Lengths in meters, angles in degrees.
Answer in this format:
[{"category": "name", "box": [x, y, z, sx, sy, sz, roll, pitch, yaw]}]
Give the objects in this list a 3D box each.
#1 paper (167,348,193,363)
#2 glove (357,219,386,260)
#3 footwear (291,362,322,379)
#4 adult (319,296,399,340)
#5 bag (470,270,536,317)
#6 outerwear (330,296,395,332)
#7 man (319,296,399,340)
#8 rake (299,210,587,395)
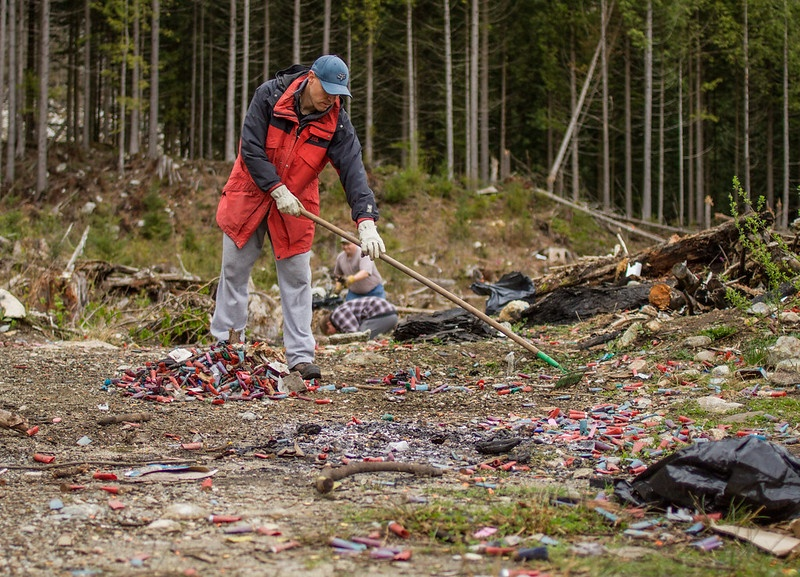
[{"category": "paper", "box": [-4.768, 1.460, 29.963, 0.522, 0.262, 0.461, -1, 5, -12]}, {"category": "glove", "box": [-0.636, -0.962, 29.948, 0.590, 0.320, 1.044, -11, -24, -19]}, {"category": "footwear", "box": [-2.028, 1.798, 29.964, 0.643, 0.315, 0.289, 5, 0, 7]}, {"category": "adult", "box": [-1.079, 0.693, 33.597, 1.955, 1.010, 1.272, -3, 8, 10]}, {"category": "bag", "box": [2.725, 0.033, 34.458, 1.194, 0.388, 1.126, -20, 51, -16]}, {"category": "outerwear", "box": [-0.894, 0.586, 33.391, 1.097, 0.614, 0.906, -2, -2, -1]}, {"category": "man", "box": [-1.064, 0.690, 33.565, 1.919, 1.022, 1.252, -5, 5, 3]}, {"category": "rake", "box": [0.976, 0.454, 33.438, 6.438, 0.570, 1.225, 32, -26, 6]}]
